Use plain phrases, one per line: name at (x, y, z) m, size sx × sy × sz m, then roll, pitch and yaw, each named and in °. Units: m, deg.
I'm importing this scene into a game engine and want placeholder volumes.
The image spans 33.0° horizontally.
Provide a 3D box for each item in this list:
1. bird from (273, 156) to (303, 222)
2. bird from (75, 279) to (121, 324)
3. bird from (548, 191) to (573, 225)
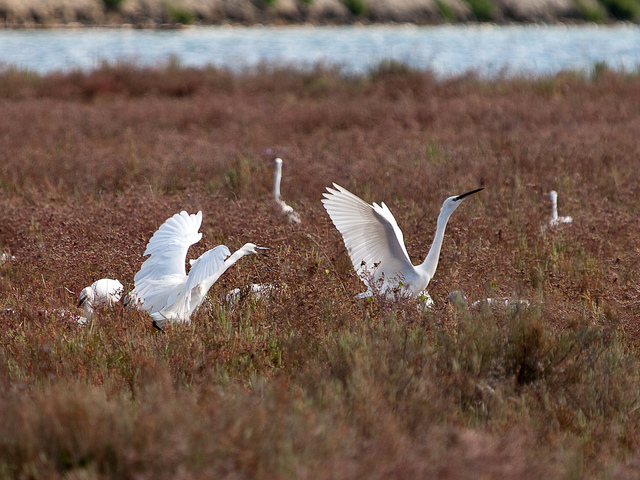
bird at (-0.551, -0.689, 17.274) m, size 0.367 × 0.880 × 1.214 m, roll -7°, pitch 37°, yaw -8°
bird at (-2.990, 0.805, 14.716) m, size 0.557 × 0.237 × 0.565 m, roll 16°, pitch 67°, yaw 37°
bird at (3.741, -0.443, 16.826) m, size 0.389 × 0.447 × 0.614 m, roll 8°, pitch 38°, yaw 12°
